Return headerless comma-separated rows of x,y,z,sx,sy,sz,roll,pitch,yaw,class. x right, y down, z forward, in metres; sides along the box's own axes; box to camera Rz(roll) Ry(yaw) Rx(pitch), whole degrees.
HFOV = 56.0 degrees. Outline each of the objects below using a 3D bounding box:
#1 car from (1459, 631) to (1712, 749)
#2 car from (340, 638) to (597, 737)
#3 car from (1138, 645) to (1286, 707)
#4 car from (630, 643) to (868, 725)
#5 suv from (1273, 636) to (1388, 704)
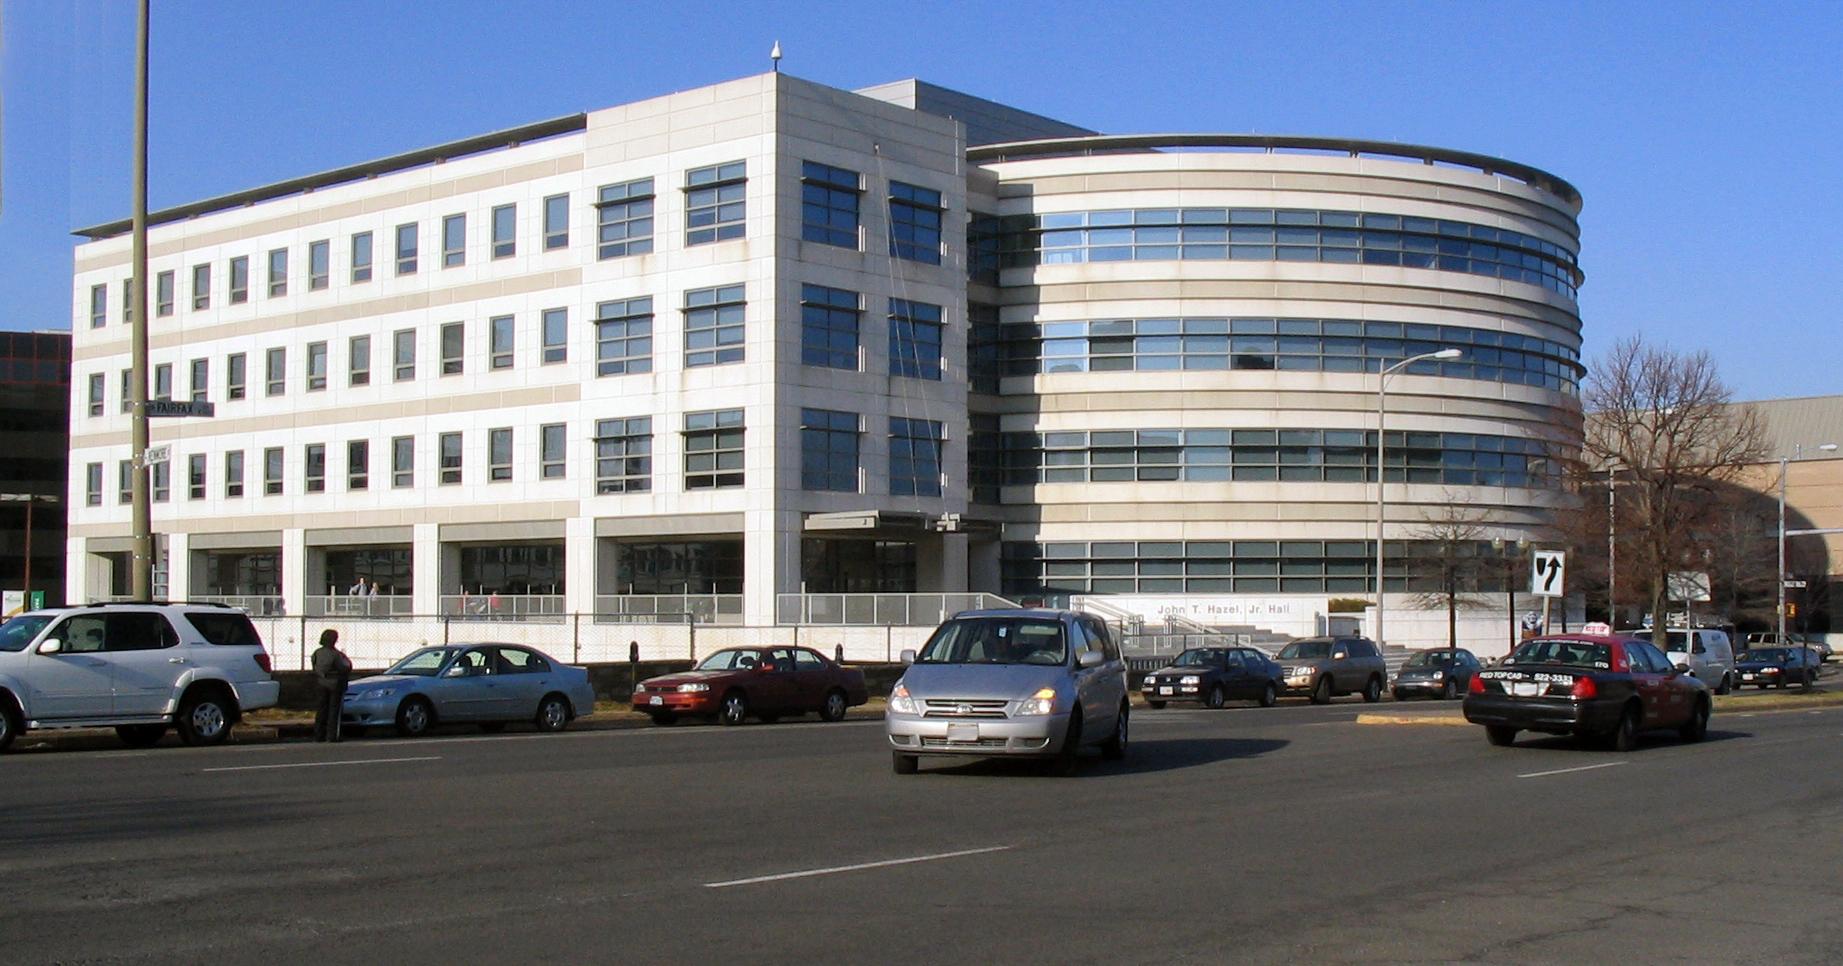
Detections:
17.725,5.458,45.102,8.706,2.658,3.359,2,-4,-40,car
-12.714,5.825,48.817,6.462,2.585,0.891,5,-12,-26,car
10.618,6.875,61.221,2.440,1.912,5.839,-2,-3,42,car
-5.128,6.172,53.188,6.643,2.404,1.258,5,-12,-27,car
15.386,6.927,65.003,4.576,2.626,2.181,8,-14,-38,suv
